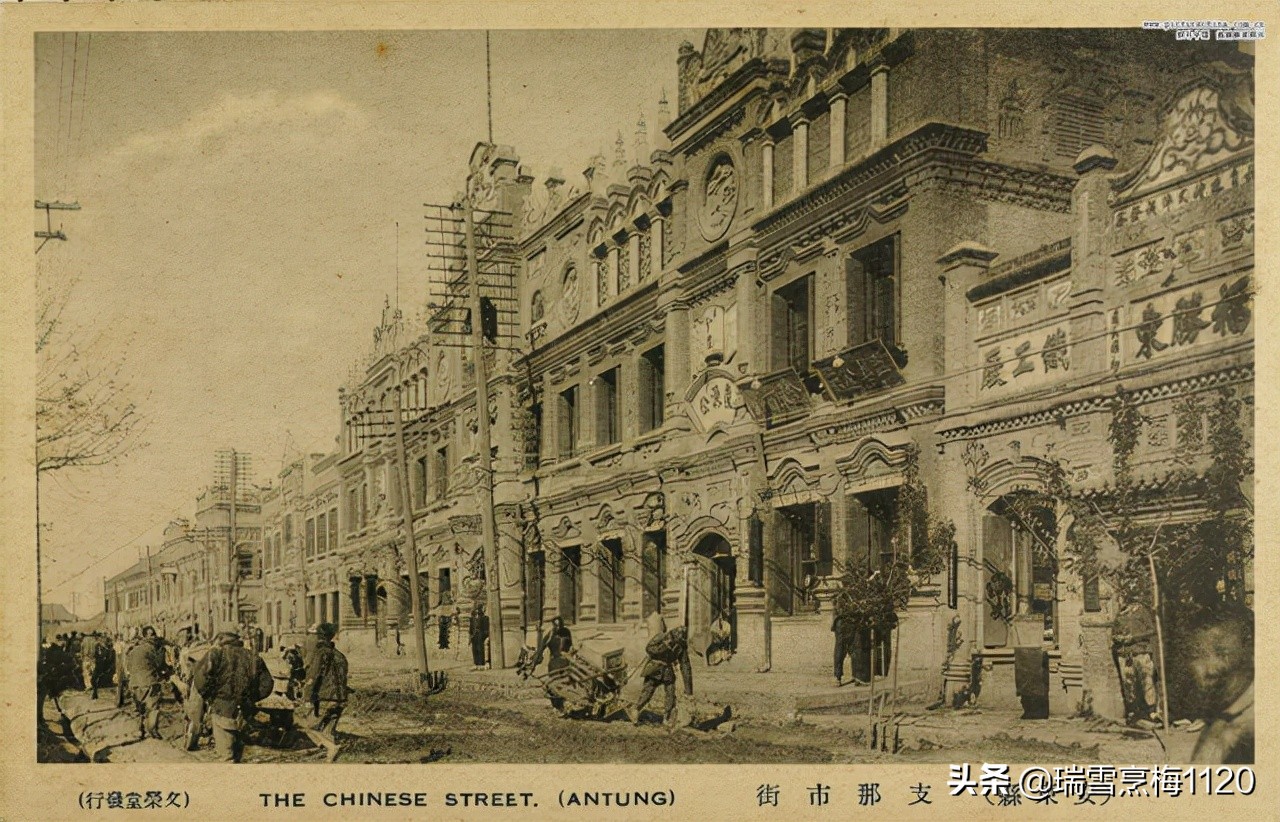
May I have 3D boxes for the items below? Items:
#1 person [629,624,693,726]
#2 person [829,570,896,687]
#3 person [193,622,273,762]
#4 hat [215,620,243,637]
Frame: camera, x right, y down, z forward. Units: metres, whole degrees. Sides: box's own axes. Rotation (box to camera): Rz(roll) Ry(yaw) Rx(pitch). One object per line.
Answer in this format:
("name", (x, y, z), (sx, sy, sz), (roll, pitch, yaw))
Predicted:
("person", (0.450, 5.285, 36.096), (1.041, 1.937, 0.720), (9, -3, 2))
("person", (4.498, 4.326, 35.909), (1.100, 2.316, 0.923), (-2, 1, -3))
("person", (-7.516, 5.319, 32.568), (1.496, 2.448, 0.969), (5, -7, -33))
("hat", (-7.518, 4.009, 32.690), (0.357, 0.267, 0.387), (7, -4, -44))
